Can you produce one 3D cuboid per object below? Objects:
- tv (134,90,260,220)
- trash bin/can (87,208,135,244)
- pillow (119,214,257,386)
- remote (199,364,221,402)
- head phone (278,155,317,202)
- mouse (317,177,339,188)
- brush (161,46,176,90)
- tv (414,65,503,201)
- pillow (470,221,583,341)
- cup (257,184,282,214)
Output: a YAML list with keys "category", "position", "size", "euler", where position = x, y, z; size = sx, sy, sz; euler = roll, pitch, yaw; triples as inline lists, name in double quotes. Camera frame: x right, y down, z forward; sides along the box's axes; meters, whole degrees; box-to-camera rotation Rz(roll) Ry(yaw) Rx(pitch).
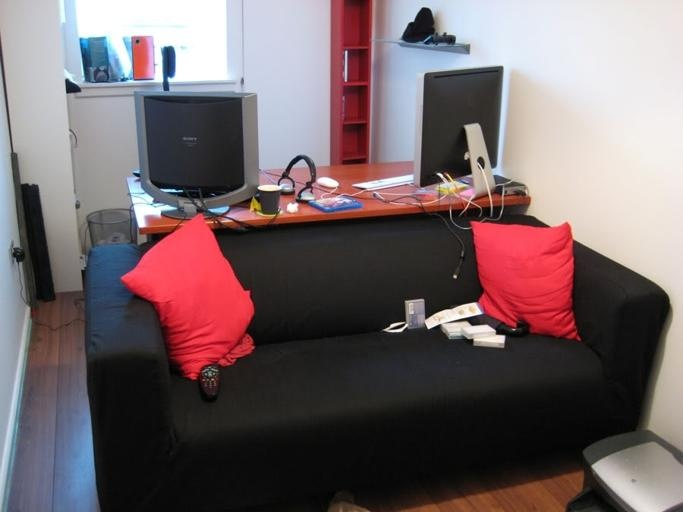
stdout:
- category: "tv"
  position: [-0.730, -0.509, 2.701]
  size: [0.580, 0.599, 0.291]
  euler: [2, 20, -4]
- category: "trash bin/can"
  position: [-1.760, -0.222, 4.172]
  size: [0.204, 0.235, 0.207]
  euler: [-15, 35, -30]
- category: "pillow"
  position: [-0.622, 0.230, 2.355]
  size: [0.172, 0.608, 0.571]
  euler: [-20, 16, 28]
- category: "remote"
  position: [-0.528, 0.495, 2.186]
  size: [0.073, 0.051, 0.140]
  euler: [1, 47, -26]
- category: "head phone"
  position: [-0.234, -0.428, 2.992]
  size: [0.105, 0.239, 0.261]
  euler: [-3, 19, -44]
- category: "mouse"
  position: [-0.068, -0.430, 3.179]
  size: [0.066, 0.034, 0.118]
  euler: [-14, 24, -33]
- category: "brush"
  position: [-1.297, -1.408, 4.122]
  size: [0.082, 0.293, 0.197]
  euler: [2, 10, -3]
- category: "tv"
  position: [0.630, -0.658, 2.959]
  size: [0.667, 0.674, 0.071]
  euler: [-10, 19, -28]
- category: "pillow"
  position: [0.920, 0.113, 2.758]
  size: [0.498, 0.597, 0.251]
  euler: [0, 12, 23]
- category: "cup"
  position: [-0.355, -0.282, 2.762]
  size: [0.125, 0.126, 0.130]
  euler: [2, 23, -1]
